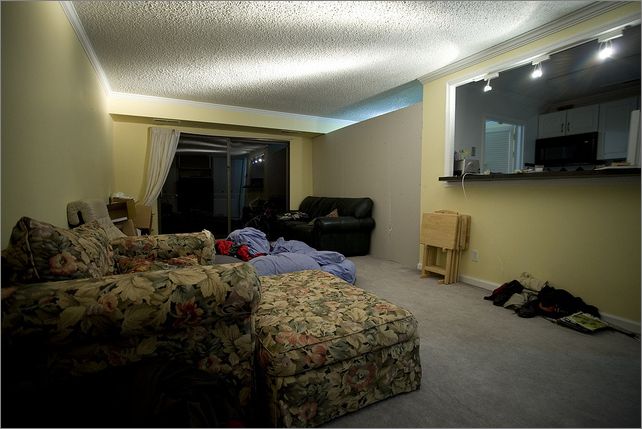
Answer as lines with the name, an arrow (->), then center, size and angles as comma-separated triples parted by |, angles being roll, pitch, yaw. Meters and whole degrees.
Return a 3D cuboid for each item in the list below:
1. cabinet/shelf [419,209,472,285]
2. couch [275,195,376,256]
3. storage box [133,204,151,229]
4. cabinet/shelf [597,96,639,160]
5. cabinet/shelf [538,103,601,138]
cabinet/shelf -> 1.471, 0.399, 5.096 | 0.364, 0.834, 0.561 | -2, 6, -35
couch -> 0.011, 0.155, 6.817 | 0.999, 0.911, 1.550 | -2, 6, -34
storage box -> -2.812, 0.027, 6.584 | 0.315, 0.390, 0.554 | 0, 6, -20
cabinet/shelf -> 4.218, -1.228, 5.891 | 0.455, 0.887, 0.226 | 5, 6, 32
cabinet/shelf -> 3.915, -1.411, 6.488 | 0.337, 0.414, 0.905 | 8, -6, -40
